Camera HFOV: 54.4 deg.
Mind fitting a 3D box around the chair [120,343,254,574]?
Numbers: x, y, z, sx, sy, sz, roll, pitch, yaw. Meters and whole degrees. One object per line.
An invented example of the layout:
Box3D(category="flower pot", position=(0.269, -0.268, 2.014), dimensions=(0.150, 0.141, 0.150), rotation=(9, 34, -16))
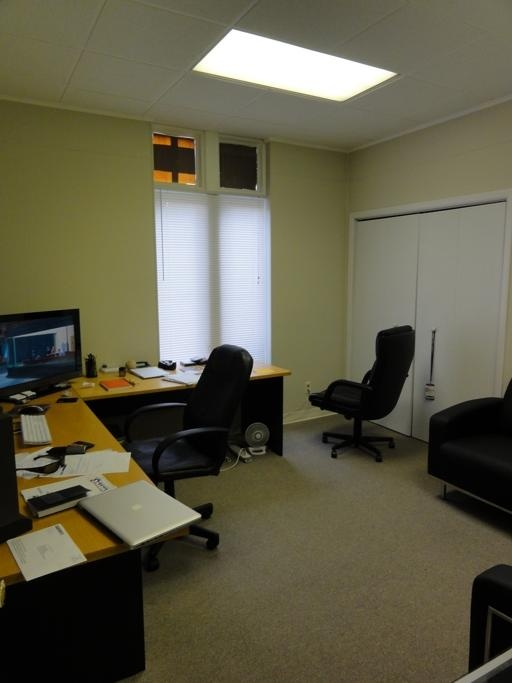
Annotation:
Box3D(category="chair", position=(-0.413, 0.552, 2.523), dimensions=(0.606, 1.083, 0.565), rotation=(4, 4, -28))

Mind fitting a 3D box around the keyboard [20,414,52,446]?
Box3D(category="keyboard", position=(-0.955, 0.390, 2.165), dimensions=(0.073, 0.017, 0.224), rotation=(3, 19, -25))

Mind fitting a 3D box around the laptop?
Box3D(category="laptop", position=(-0.326, 0.491, 1.398), dimensions=(0.140, 0.027, 0.204), rotation=(-14, 18, -31))

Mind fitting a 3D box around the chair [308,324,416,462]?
Box3D(category="chair", position=(0.818, 0.347, 3.854), dimensions=(0.672, 1.022, 0.737), rotation=(-5, 9, -34))
